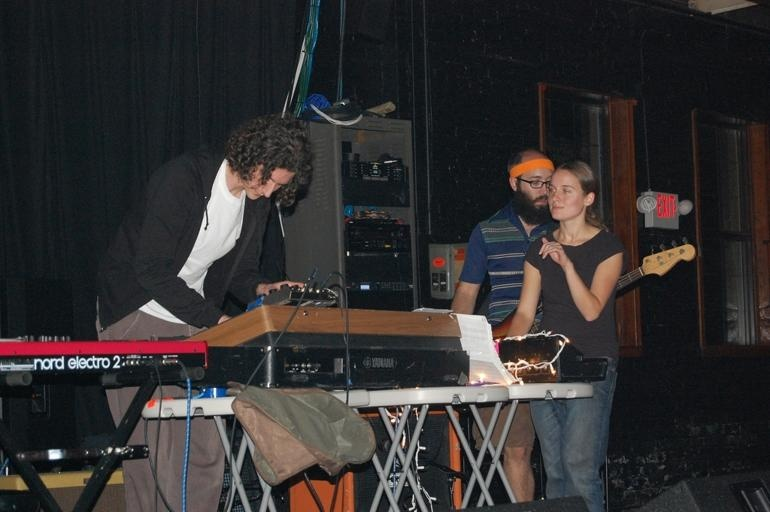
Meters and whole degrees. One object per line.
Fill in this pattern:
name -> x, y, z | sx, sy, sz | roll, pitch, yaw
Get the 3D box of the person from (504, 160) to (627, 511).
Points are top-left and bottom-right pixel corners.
person -> 1.070, 0.454, 6.298 | 0.626, 2.007, 0.325 | -1, -1, 15

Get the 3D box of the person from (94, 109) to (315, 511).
person -> -1.020, 0.310, 6.143 | 1.105, 2.219, 0.674 | 0, -1, -23
